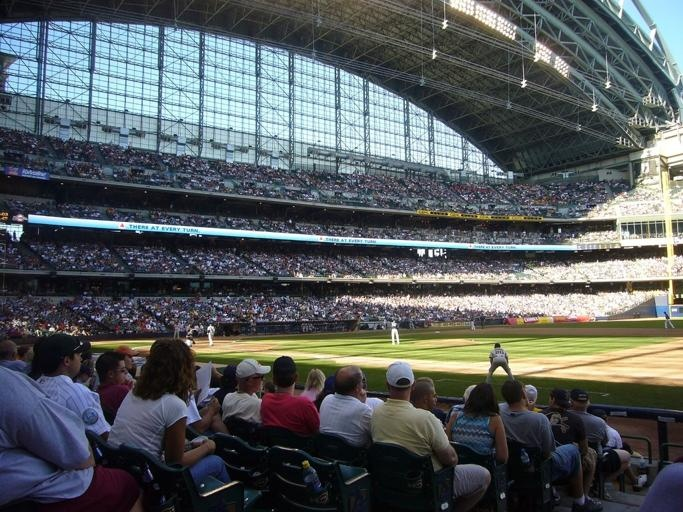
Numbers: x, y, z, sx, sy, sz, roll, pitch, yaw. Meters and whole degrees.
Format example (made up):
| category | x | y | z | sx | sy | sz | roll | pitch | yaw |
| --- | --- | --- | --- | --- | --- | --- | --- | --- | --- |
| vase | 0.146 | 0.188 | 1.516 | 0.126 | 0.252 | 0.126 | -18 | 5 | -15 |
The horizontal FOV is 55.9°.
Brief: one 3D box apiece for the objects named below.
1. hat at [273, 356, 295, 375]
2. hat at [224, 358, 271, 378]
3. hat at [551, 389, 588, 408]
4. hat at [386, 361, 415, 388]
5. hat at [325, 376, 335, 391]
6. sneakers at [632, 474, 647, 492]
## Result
| category | x | y | z | sx | sy | sz | roll | pitch | yaw |
| --- | --- | --- | --- | --- | --- | --- | --- | --- | --- |
| hat | -1.042 | 1.962 | 11.696 | 0.383 | 0.287 | 0.307 | 0 | -10 | 2 |
| hat | -1.636 | 2.095 | 12.001 | 0.579 | 0.195 | 0.350 | -1 | 2 | -25 |
| hat | 4.353 | 2.711 | 12.394 | 0.647 | 0.294 | 0.402 | 4 | -6 | -19 |
| hat | 0.996 | 2.025 | 11.016 | 0.431 | 0.436 | 0.266 | 0 | -10 | -2 |
| hat | -0.260 | 2.558 | 12.935 | 0.178 | 0.333 | 0.436 | 2 | -10 | -8 |
| sneakers | 5.865 | 4.393 | 12.522 | 0.451 | 0.176 | 0.156 | -21 | 2 | -37 |
